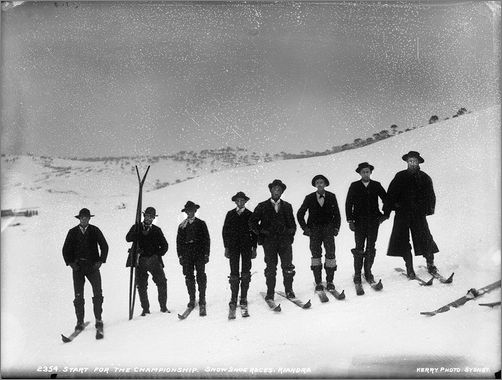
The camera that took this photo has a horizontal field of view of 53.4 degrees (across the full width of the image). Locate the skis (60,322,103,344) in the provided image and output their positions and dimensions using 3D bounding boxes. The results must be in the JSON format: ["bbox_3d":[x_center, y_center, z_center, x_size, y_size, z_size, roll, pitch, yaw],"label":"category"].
[{"bbox_3d":[-2.974,2.521,8.786,0.757,0.143,0.163,-14,-9,4],"label":"skis"}]

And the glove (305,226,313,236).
[{"bbox_3d":[1.022,0.739,8.928,0.127,0.128,0.034,2,-7,-20],"label":"glove"}]

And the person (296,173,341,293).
[{"bbox_3d":[1.237,0.772,8.988,0.731,2.082,0.314,-1,-4,9],"label":"person"}]

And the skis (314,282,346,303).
[{"bbox_3d":[1.408,1.846,8.945,0.218,0.083,0.542,-8,8,-10],"label":"skis"}]

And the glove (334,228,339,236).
[{"bbox_3d":[1.548,0.754,9.013,0.090,0.118,0.110,12,12,-2],"label":"glove"}]

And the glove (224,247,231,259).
[{"bbox_3d":[-0.419,1.124,8.918,0.138,0.238,0.139,-1,2,2],"label":"glove"}]

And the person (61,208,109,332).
[{"bbox_3d":[-2.959,1.470,8.839,0.757,2.279,0.353,1,-5,-20],"label":"person"}]

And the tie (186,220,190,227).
[{"bbox_3d":[-1.157,0.604,9.127,0.085,0.087,0.021,0,-15,-2],"label":"tie"}]

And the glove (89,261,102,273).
[{"bbox_3d":[-2.721,1.364,8.839,0.164,0.167,0.041,7,-5,26],"label":"glove"}]

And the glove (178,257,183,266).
[{"bbox_3d":[-1.265,1.277,9.088,0.107,0.173,0.101,-1,-9,2],"label":"glove"}]

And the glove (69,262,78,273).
[{"bbox_3d":[-3.111,1.345,8.732,0.146,0.164,0.082,-2,-5,20],"label":"glove"}]

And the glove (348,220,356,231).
[{"bbox_3d":[1.829,0.650,9.091,0.109,0.164,0.042,1,-7,-27],"label":"glove"}]

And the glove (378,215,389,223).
[{"bbox_3d":[2.431,0.522,9.071,0.195,0.133,0.119,3,-6,-40],"label":"glove"}]

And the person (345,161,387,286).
[{"bbox_3d":[2.145,0.600,9.172,0.781,2.255,0.403,-1,-4,11],"label":"person"}]

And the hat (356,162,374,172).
[{"bbox_3d":[2.085,-0.428,9.263,0.218,0.079,0.225,-8,-21,-9],"label":"hat"}]
